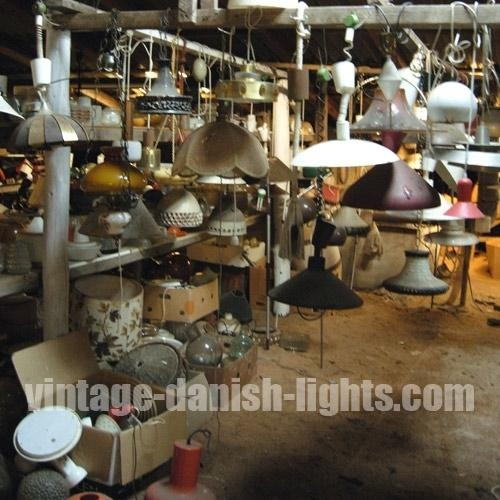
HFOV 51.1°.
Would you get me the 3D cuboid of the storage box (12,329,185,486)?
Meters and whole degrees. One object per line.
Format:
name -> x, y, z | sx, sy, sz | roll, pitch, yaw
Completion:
storage box -> -0.686, 0.673, 2.320 | 0.608, 0.447, 0.621 | 12, 12, 20
